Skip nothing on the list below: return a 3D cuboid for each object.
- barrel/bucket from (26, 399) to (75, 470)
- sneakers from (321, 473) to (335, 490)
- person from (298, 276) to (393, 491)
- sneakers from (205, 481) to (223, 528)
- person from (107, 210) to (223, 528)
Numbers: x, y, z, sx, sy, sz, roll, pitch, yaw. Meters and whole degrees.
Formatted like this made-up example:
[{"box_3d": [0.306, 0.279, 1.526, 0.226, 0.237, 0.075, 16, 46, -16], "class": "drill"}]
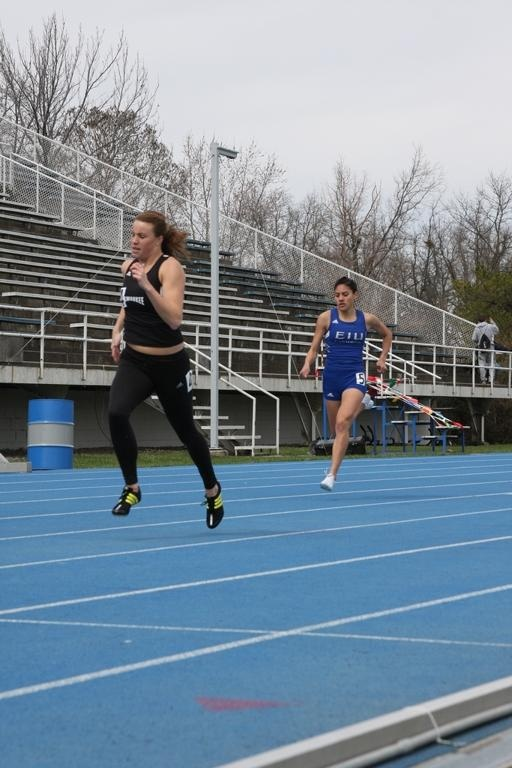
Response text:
[{"box_3d": [-2.718, 0.702, 10.074, 0.607, 0.891, 0.608, -1, -8, 0], "class": "barrel/bucket"}, {"box_3d": [0.556, 0.801, 6.110, 0.083, 0.099, 0.220, 13, -10, 16], "class": "sneakers"}, {"box_3d": [0.761, 0.026, 6.528, 0.766, 1.803, 1.148, 2, 0, 6], "class": "person"}, {"box_3d": [-0.272, 0.717, 4.381, 0.100, 0.285, 0.124, 3, 11, 28], "class": "sneakers"}, {"box_3d": [-0.580, -0.072, 4.096, 0.613, 1.730, 0.806, 2, 0, 16], "class": "person"}]
